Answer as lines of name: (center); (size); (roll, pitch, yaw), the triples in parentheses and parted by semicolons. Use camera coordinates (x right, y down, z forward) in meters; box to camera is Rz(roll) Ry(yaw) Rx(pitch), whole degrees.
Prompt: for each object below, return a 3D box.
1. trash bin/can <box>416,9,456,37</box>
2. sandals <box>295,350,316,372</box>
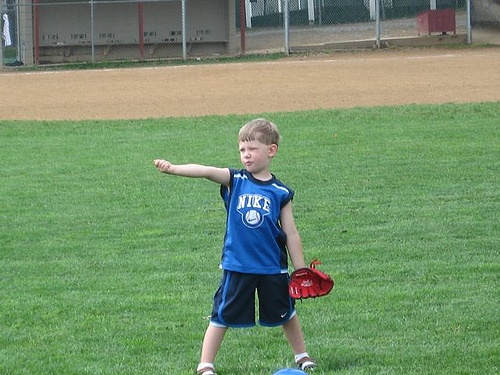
trash bin/can: (6.824, -5.962, 48.114); (0.949, 0.894, 1.048); (-1, 2, -4)
sandals: (1.115, 3.456, 26.458); (0.214, 0.252, 0.496); (-1, -8, -24)
